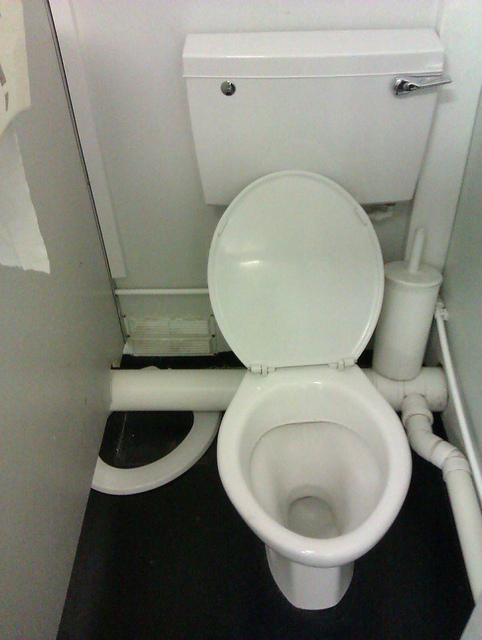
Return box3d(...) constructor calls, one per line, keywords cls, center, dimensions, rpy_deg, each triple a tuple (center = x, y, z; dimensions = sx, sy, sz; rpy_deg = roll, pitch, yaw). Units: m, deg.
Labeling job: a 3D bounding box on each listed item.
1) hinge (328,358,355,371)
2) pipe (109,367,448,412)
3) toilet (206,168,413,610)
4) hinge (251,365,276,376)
box3d(cls="hinge", center=(0.236, 0.106, 1.171), dimensions=(0.039, 0.020, 0.012), rpy_deg=(-13, 24, -4))
box3d(cls="pipe", center=(0.085, 0.198, 1.446), dimensions=(0.930, 0.158, 0.110), rpy_deg=(-4, 40, 4))
box3d(cls="toilet", center=(0.154, 0.272, 1.113), dimensions=(0.334, 0.927, 0.625), rpy_deg=(-4, 38, 1))
box3d(cls="hinge", center=(0.048, 0.117, 1.150), dimensions=(0.067, 0.029, 0.025), rpy_deg=(1, 71, -8))
